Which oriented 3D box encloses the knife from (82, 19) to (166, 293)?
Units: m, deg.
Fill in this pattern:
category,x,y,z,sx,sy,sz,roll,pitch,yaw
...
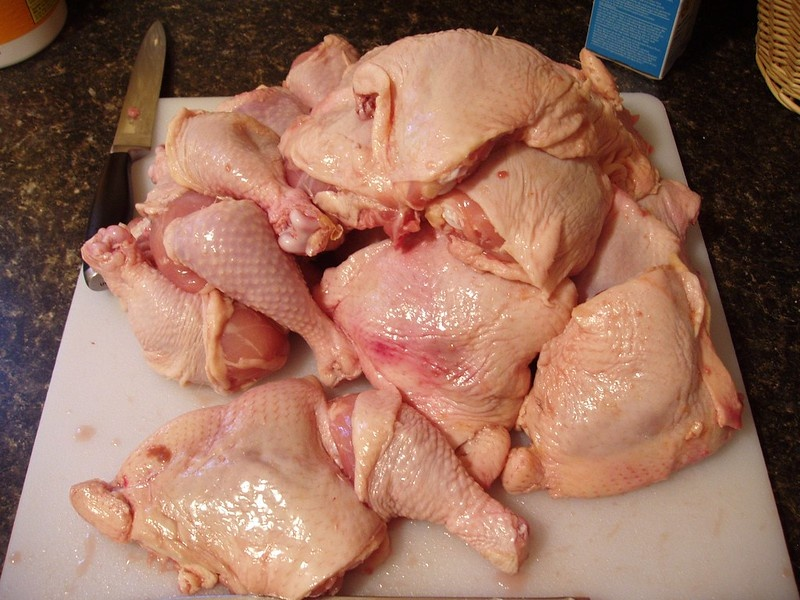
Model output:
category,x,y,z,sx,sy,sz,roll,pitch,yaw
knife,-0.812,-0.476,2.694,0.132,0.114,1.019,14,57,-17
